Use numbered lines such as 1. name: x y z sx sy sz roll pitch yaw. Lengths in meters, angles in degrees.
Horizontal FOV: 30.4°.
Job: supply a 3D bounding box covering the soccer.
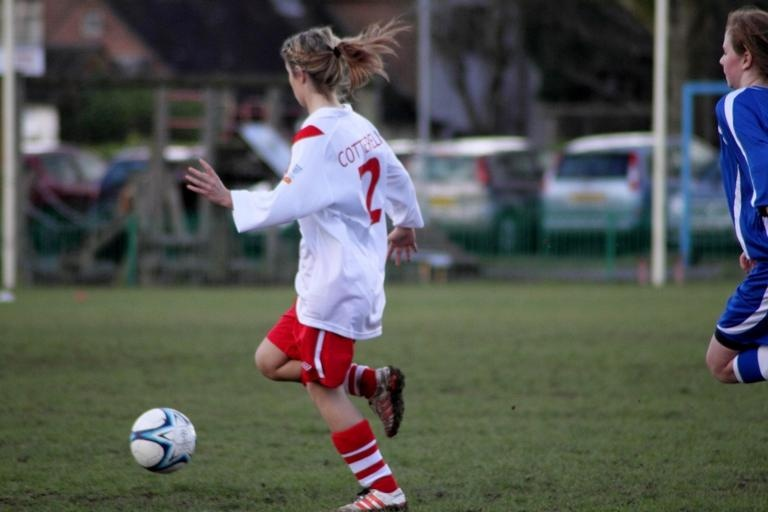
1. soccer: -1.947 1.632 12.649 0.537 0.560 0.564 -1 -28 42
